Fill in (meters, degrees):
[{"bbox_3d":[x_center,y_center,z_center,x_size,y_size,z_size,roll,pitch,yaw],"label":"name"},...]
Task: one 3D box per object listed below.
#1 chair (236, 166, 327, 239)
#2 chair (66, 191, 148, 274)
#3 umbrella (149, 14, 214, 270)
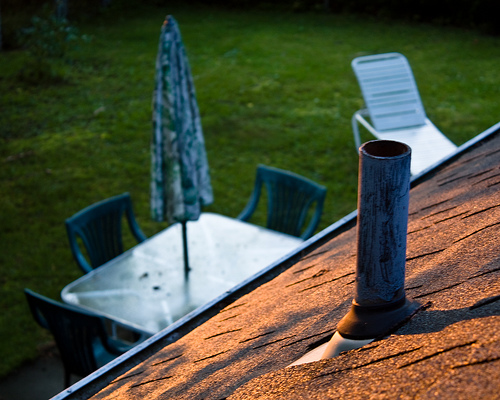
[{"bbox_3d":[0.260,0.049,7.487,0.434,0.638,0.454,20,42,7],"label":"chair"},{"bbox_3d":[-1.216,0.263,6.612,0.427,0.617,0.439,-24,51,-29],"label":"chair"},{"bbox_3d":[-0.488,-0.563,5.699,0.435,1.476,0.464,4,26,4],"label":"umbrella"}]
